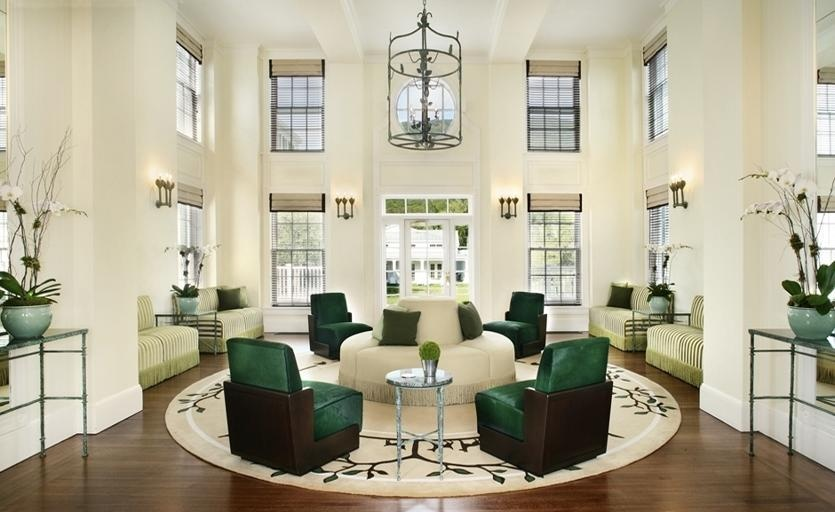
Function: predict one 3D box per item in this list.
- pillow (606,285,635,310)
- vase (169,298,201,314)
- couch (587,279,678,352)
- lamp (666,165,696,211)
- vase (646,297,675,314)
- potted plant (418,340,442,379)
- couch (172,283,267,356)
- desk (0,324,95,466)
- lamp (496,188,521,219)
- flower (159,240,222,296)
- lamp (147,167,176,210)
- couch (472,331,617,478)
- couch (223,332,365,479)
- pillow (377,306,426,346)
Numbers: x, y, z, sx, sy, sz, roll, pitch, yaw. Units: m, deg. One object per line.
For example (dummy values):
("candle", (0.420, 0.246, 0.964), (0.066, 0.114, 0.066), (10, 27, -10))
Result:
("pillow", (3.802, 0.742, 10.931), (0.426, 0.432, 0.418), (-11, -23, 25))
("vase", (-3.814, 0.823, 9.608), (0.333, 0.229, 0.310), (-2, -5, 18))
("couch", (3.837, 1.044, 10.664), (0.915, 1.088, 1.902), (-3, 2, -4))
("lamp", (4.374, -1.103, 9.821), (0.166, 0.605, 0.415), (-1, 1, -6))
("vase", (4.010, 0.817, 9.713), (0.327, 0.230, 0.324), (1, -8, -2))
("potted plant", (0.137, 1.141, 6.402), (0.188, 0.406, 0.241), (-1, 1, 0))
("couch", (-3.452, 1.068, 10.446), (0.887, 1.023, 2.026), (-1, 0, 5))
("desk", (-4.171, 1.576, 6.540), (0.662, 1.397, 1.537), (0, -2, -8))
("lamp", (1.753, -0.930, 11.246), (0.375, 0.439, 0.129), (-1, 1, 6))
("flower", (-3.873, 0.231, 10.212), (0.986, 0.947, 0.792), (2, -7, -35))
("lamp", (-4.120, -1.091, 9.623), (0.193, 0.612, 0.481), (0, 1, 7))
("couch", (1.458, 1.620, 6.874), (1.263, 1.590, 1.485), (-1, 2, -31))
("couch", (-1.352, 1.585, 6.666), (1.111, 1.338, 1.336), (2, 2, 39))
("pillow", (-0.188, 0.981, 8.042), (0.542, 0.563, 0.169), (0, -39, 14))
